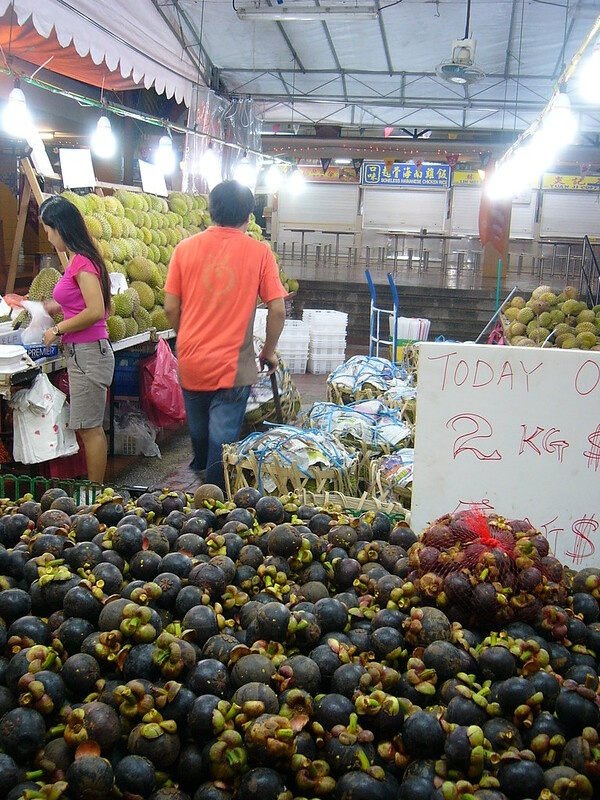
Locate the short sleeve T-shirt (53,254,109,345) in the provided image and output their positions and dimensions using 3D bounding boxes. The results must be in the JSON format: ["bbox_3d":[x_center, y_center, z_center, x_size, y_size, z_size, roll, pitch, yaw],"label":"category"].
[{"bbox_3d":[-1.305,-0.591,3.530,0.309,0.507,0.260,2,2,-22],"label":"short sleeve T-shirt"}]

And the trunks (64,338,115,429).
[{"bbox_3d":[-1.349,-0.137,3.813,0.324,0.568,0.396,-1,11,-15],"label":"trunks"}]
